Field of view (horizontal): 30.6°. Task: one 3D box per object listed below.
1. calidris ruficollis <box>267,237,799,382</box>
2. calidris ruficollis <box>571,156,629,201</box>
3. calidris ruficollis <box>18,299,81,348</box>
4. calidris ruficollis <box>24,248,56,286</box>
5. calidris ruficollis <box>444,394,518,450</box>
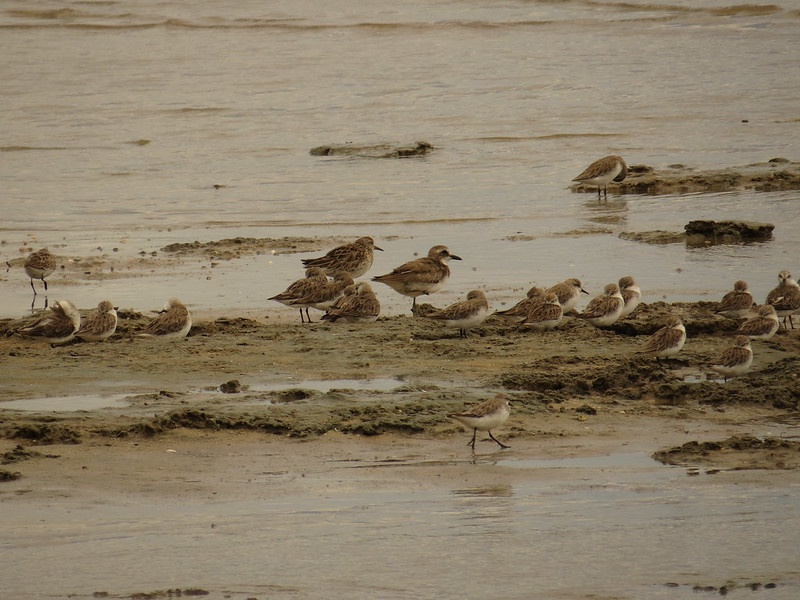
[{"bbox_3d":[1.992,0.269,29.448,10.157,2.213,5.487,1,14,-3],"label":"calidris ruficollis"},{"bbox_3d":[5.668,-3.335,40.091,2.530,1.159,1.645,-1,14,1],"label":"calidris ruficollis"},{"bbox_3d":[-6.296,0.418,26.992,1.050,0.892,0.371,0,-17,-7],"label":"calidris ruficollis"},{"bbox_3d":[-7.452,-0.665,30.974,0.579,0.950,0.930,1,-14,-11],"label":"calidris ruficollis"},{"bbox_3d":[1.389,1.862,22.935,1.629,0.636,0.718,0,4,4],"label":"calidris ruficollis"}]
